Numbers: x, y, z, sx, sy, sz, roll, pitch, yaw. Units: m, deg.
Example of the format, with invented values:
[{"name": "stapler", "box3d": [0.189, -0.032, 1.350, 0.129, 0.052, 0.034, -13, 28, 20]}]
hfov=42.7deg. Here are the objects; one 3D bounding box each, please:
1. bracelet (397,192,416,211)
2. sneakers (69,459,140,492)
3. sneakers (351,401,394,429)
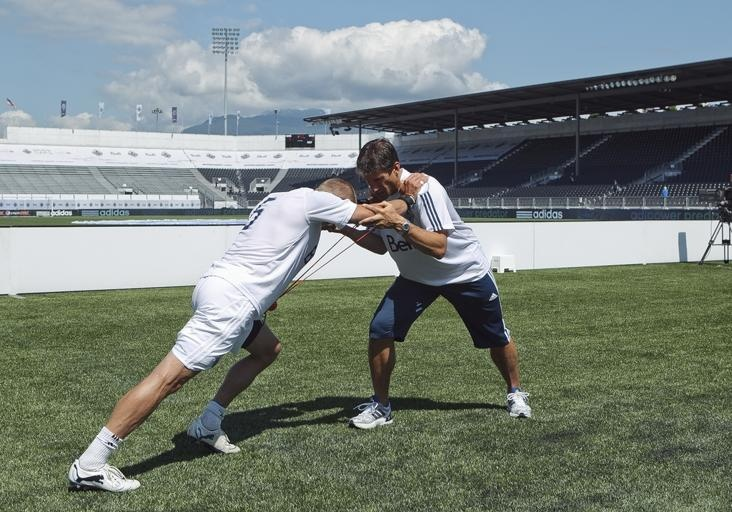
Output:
[{"name": "bracelet", "box3d": [0.340, -0.470, 8.104, 0.131, 0.068, 0.113, 37, 27, -28]}, {"name": "sneakers", "box3d": [-2.089, 1.792, 7.570, 0.606, 0.253, 0.230, 6, -1, -10]}, {"name": "sneakers", "box3d": [0.047, 1.427, 8.274, 0.428, 0.191, 0.171, 1, -7, -34]}]
